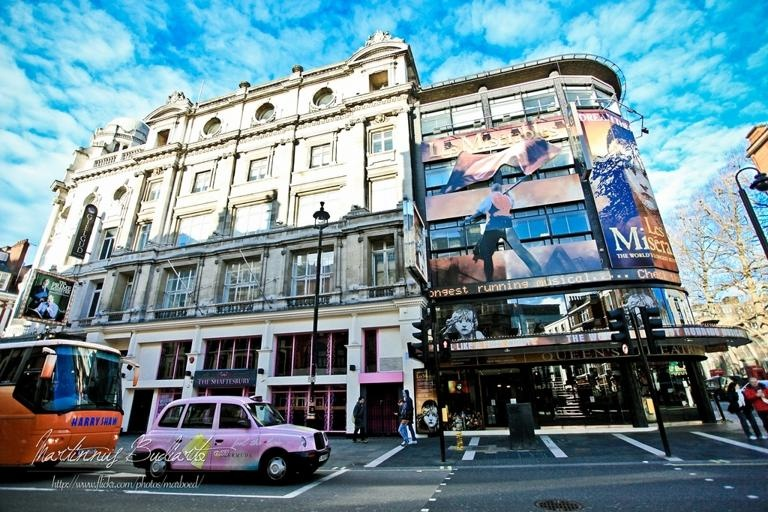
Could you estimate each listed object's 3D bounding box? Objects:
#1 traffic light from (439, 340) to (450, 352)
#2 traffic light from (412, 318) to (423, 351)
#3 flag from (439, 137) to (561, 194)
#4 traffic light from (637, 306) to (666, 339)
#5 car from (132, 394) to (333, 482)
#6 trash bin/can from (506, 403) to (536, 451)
[{"bbox_3d":[2.468,3.618,16.715,0.388,0.479,0.169,-3,-14,8],"label":"traffic light"},{"bbox_3d":[1.470,3.189,16.791,0.412,1.122,0.661,-2,-13,1],"label":"traffic light"},{"bbox_3d":[7.965,-6.567,28.293,5.515,1.433,5.145,-24,31,-30],"label":"flag"},{"bbox_3d":[10.196,2.484,15.436,0.585,1.188,1.646,-10,-15,34],"label":"traffic light"},{"bbox_3d":[-5.336,6.419,14.771,6.558,2.318,2.867,-2,-26,2],"label":"car"},{"bbox_3d":[5.904,7.235,17.463,1.004,1.868,0.611,-3,-14,9],"label":"trash bin/can"}]
